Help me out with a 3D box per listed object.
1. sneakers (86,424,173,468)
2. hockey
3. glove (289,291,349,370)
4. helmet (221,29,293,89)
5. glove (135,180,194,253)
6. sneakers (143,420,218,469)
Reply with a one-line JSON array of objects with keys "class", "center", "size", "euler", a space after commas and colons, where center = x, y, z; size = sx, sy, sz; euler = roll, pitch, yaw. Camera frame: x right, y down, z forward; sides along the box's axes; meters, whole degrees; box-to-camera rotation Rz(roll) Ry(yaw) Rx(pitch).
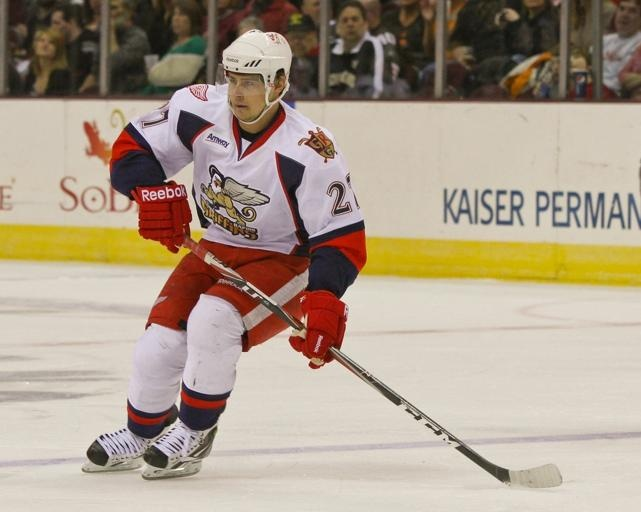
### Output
[{"class": "sneakers", "center": [-0.753, 0.765, 4.615], "size": [0.096, 0.148, 0.403], "euler": [12, 2, 38]}, {"class": "hockey", "center": [0.298, 0.502, 4.720], "size": [1.552, 0.170, 0.214], "euler": [35, 11, 34]}, {"class": "glove", "center": [-0.013, 0.273, 4.475], "size": [0.212, 0.300, 0.168], "euler": [2, 13, 8]}, {"class": "helmet", "center": [-0.258, -0.773, 4.738], "size": [0.238, 0.218, 0.302], "euler": [14, 18, 32]}, {"class": "glove", "center": [-0.621, -0.162, 4.708], "size": [0.297, 0.253, 0.117], "euler": [1, 13, -2]}, {"class": "sneakers", "center": [-0.525, 0.723, 4.532], "size": [0.280, 0.182, 0.118], "euler": [-10, 16, -40]}]
